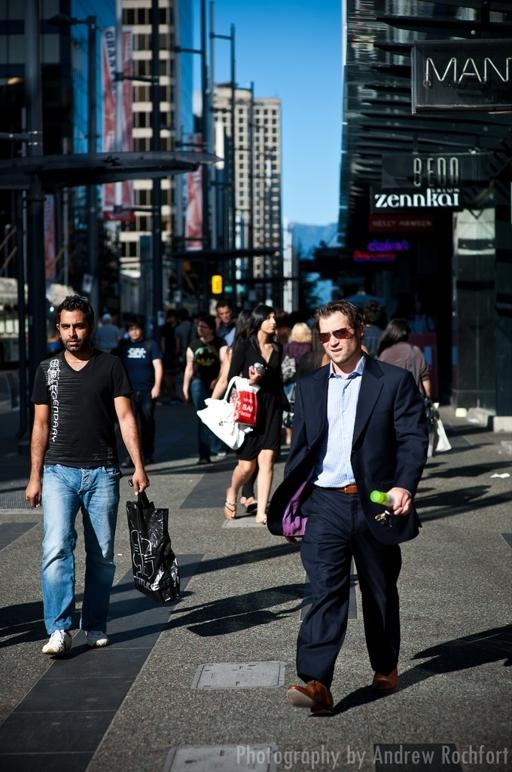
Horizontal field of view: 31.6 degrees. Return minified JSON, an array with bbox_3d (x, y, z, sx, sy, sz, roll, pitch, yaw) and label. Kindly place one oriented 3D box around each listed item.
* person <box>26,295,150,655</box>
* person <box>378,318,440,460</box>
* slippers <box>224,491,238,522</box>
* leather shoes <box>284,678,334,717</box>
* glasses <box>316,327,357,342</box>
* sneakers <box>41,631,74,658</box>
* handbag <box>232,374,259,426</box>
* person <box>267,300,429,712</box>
[{"bbox_3d":[-0.783,0.424,4.208,0.540,1.688,0.436,-5,8,-19],"label":"person"},{"bbox_3d":[1.557,0.017,9.486,0.596,1.630,0.502,4,30,23],"label":"person"},{"bbox_3d":[-0.212,1.037,7.709,0.090,0.260,0.070,8,29,13],"label":"slippers"},{"bbox_3d":[0.196,1.069,3.086,0.076,0.094,0.218,-11,-33,34],"label":"leather shoes"},{"bbox_3d":[0.283,-0.187,3.303,0.132,0.064,0.069,3,10,32],"label":"glasses"},{"bbox_3d":[-0.891,1.163,4.052,0.091,0.072,0.199,-12,0,-6],"label":"sneakers"},{"bbox_3d":[-0.080,0.134,7.326,0.205,0.405,0.234,-2,8,2],"label":"handbag"},{"bbox_3d":[0.341,0.465,3.258,0.594,1.520,0.560,-3,8,-1],"label":"person"}]
